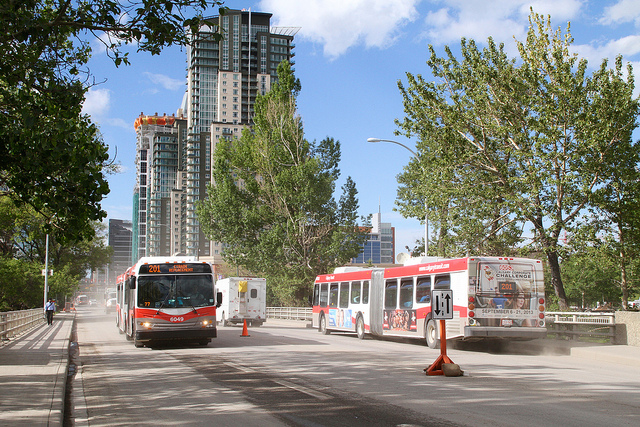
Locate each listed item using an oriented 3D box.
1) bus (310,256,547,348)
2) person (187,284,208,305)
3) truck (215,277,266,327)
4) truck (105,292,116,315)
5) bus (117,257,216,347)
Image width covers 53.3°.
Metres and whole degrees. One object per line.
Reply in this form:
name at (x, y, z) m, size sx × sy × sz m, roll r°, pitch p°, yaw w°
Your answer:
bus at (3.412, 4.538, 31.525) m, size 4.072 × 4.335 × 17.449 m, roll 4°, pitch -8°, yaw -24°
person at (-5.127, 3.501, 26.753) m, size 1.068 × 0.967 × 0.607 m, roll 3°, pitch -12°, yaw -20°
truck at (-5.806, 6.457, 46.478) m, size 4.024 × 3.667 × 2.759 m, roll -4°, pitch -11°, yaw 17°
truck at (-29.697, 12.635, 90.298) m, size 2.164 × 3.137 × 5.852 m, roll 1°, pitch -9°, yaw -18°
bus at (-6.935, 3.842, 27.731) m, size 3.194 × 3.821 × 4.927 m, roll 6°, pitch -13°, yaw -32°
